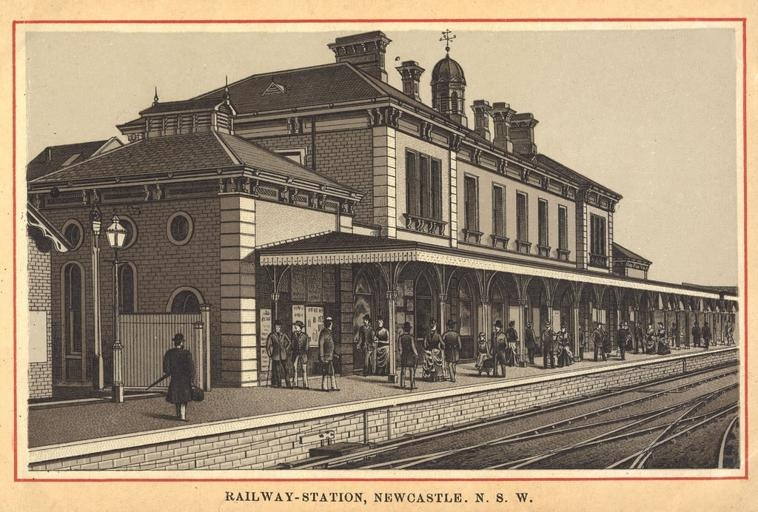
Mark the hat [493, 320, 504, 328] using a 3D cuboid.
[{"bbox_3d":[3.972,2.282,36.895,0.423,0.180,0.485,0,-2,6],"label":"hat"}]

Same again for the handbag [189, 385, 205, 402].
[{"bbox_3d":[-4.442,3.371,27.030,0.333,0.363,0.354,2,3,9],"label":"handbag"}]

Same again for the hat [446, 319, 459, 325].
[{"bbox_3d":[2.392,2.165,36.691,0.416,0.111,0.444,-3,-5,26],"label":"hat"}]
